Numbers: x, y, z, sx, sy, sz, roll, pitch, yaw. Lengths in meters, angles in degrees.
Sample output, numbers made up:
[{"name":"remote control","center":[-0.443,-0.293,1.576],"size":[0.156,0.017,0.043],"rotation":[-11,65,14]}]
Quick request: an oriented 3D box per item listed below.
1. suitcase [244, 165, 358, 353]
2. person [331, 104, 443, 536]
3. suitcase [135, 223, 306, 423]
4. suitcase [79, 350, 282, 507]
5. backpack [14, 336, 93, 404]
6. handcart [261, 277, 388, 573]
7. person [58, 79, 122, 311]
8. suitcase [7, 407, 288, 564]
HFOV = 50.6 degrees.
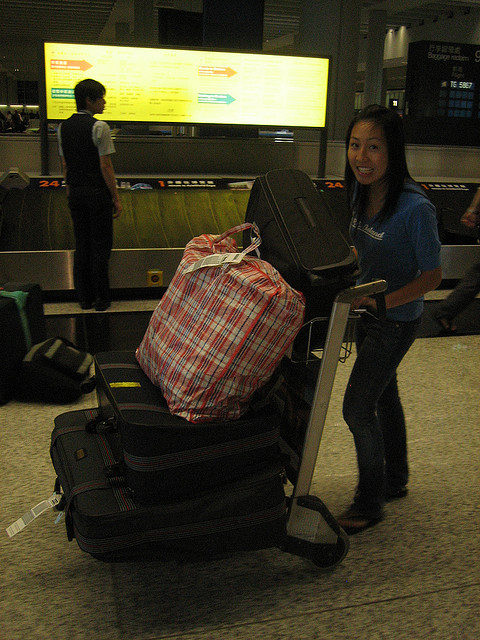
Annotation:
[{"name":"suitcase","center":[0.159,-0.193,1.136],"size":[0.286,0.248,0.148],"rotation":[-14,-7,-40]},{"name":"person","center":[0.357,0.023,1.430],"size":[0.389,1.120,0.304],"rotation":[8,16,30]},{"name":"suitcase","center":[-0.060,-0.020,1.120],"size":[0.234,0.402,0.427],"rotation":[5,17,-29]},{"name":"suitcase","center":[-0.148,0.207,1.228],"size":[0.433,0.170,0.475],"rotation":[-6,16,-21]},{"name":"backpack","center":[-0.893,0.252,2.464],"size":[0.288,0.140,0.362],"rotation":[31,24,-4]},{"name":"handcart","center":[0.200,0.260,1.181],"size":[0.272,0.766,0.254],"rotation":[-2,6,-29]},{"name":"person","center":[-1.106,-0.905,3.708],"size":[0.434,1.542,0.310],"rotation":[6,14,14]},{"name":"suitcase","center":[-0.176,0.297,1.043],"size":[0.436,0.131,0.424],"rotation":[-3,14,-16]}]
